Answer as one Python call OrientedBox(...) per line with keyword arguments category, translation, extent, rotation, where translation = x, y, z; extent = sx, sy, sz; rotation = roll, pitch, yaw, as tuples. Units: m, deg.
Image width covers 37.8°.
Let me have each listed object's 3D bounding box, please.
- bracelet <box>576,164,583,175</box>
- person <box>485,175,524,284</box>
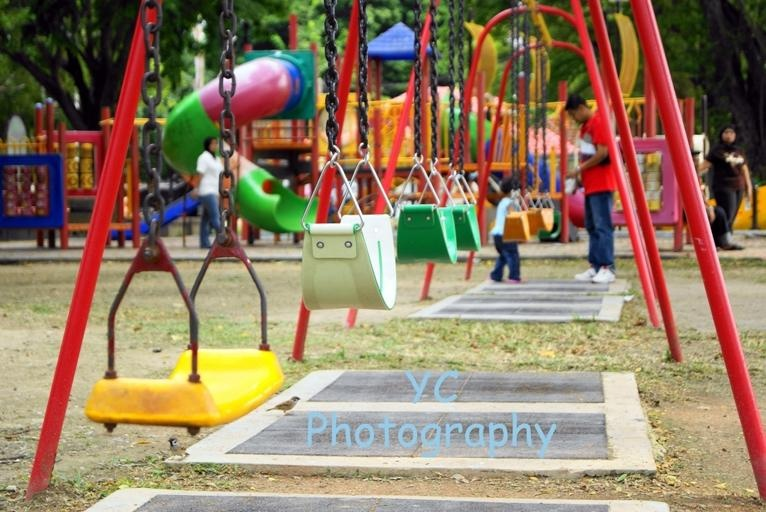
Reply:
OrientedBox(category="bracelet", translation=(2.402, -1.075, 13.636), extent=(0.077, 0.118, 0.107), rotation=(2, -8, 8))
OrientedBox(category="person", translation=(1.535, -0.277, 14.034), extent=(0.494, 1.472, 0.547), rotation=(-1, 0, -35))
